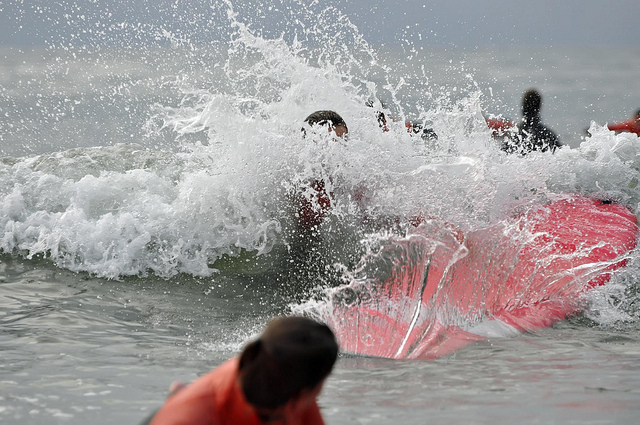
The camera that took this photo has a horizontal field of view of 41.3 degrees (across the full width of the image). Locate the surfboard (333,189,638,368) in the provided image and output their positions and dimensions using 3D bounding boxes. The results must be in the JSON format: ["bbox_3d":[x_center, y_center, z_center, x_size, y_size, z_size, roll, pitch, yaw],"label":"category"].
[{"bbox_3d":[1.410,0.437,6.926,2.650,1.064,1.190,-4,13,-24],"label":"surfboard"}]

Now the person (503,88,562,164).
[{"bbox_3d":[2.070,-0.834,8.136,0.515,0.587,1.236,4,12,15],"label":"person"}]
